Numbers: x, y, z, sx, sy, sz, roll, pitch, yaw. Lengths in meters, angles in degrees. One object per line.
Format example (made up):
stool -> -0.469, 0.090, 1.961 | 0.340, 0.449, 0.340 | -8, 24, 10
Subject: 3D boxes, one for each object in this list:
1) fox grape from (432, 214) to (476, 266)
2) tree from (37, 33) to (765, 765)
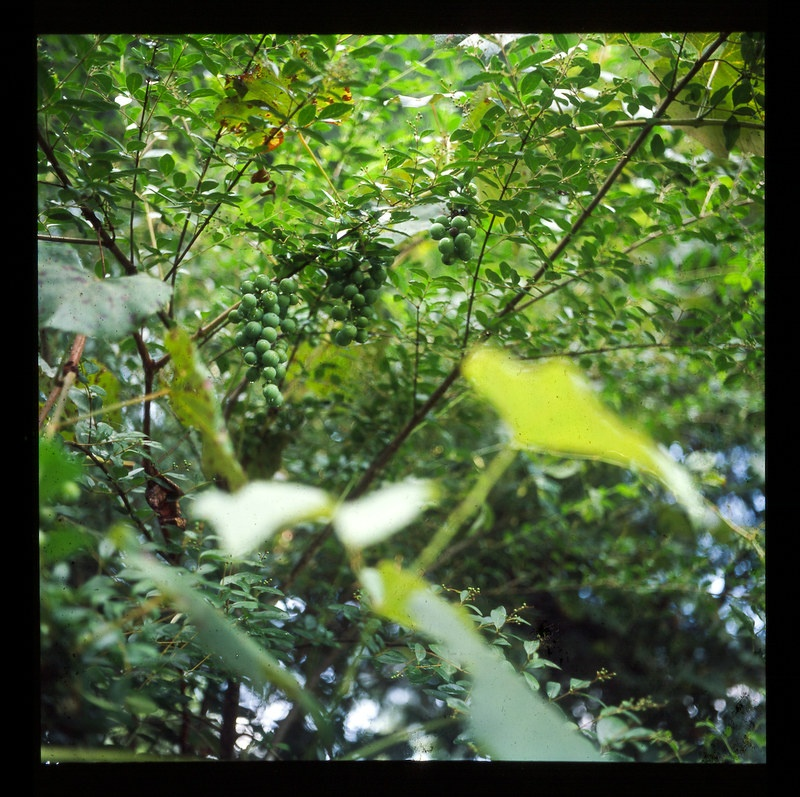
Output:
fox grape -> 0.092, -0.268, 1.544 | 0.072, 0.056, 0.088 | -15, -17, -13
tree -> -0.117, 0.017, 2.169 | 1.637, 1.362, 0.553 | 0, 8, -8
